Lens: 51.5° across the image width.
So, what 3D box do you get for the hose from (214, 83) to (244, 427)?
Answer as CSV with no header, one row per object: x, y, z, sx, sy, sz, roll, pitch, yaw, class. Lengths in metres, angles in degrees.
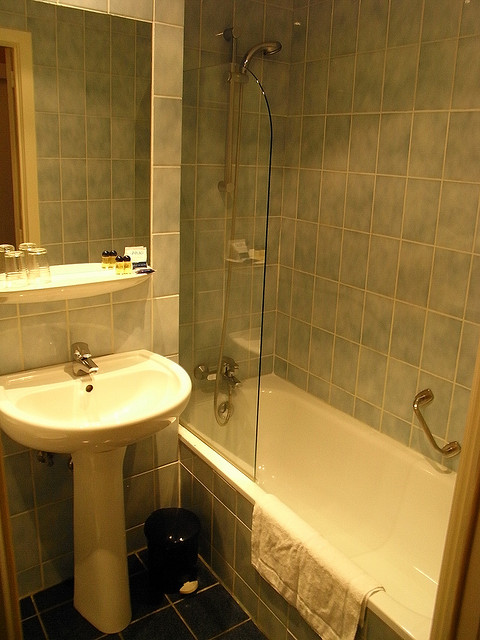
-0.048,-0.183,1.825,0.140,1.257,0.051,12,19,39,hose

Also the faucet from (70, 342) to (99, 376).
-0.558,0.107,1.789,0.052,0.106,0.200,-6,24,-24,faucet

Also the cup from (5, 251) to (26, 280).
-0.681,-0.171,1.525,0.051,0.144,0.064,-4,7,-22,cup

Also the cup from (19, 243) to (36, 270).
-0.670,-0.201,1.567,0.047,0.122,0.052,1,7,0,cup

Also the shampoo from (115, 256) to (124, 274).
-0.424,-0.192,1.759,0.029,0.058,0.022,-6,17,-19,shampoo

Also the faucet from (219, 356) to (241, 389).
-0.045,0.203,1.907,0.038,0.166,0.150,-3,10,-24,faucet

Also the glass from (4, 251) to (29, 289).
-0.683,-0.154,1.518,0.068,0.104,0.048,-12,20,-33,glass

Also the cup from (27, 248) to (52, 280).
-0.630,-0.179,1.568,0.057,0.138,0.072,-3,8,-20,cup

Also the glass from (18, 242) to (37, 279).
-0.671,-0.197,1.571,0.052,0.137,0.055,-1,3,-39,glass

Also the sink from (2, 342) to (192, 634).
-0.517,0.454,1.767,0.614,1.087,0.503,-7,19,-37,sink
